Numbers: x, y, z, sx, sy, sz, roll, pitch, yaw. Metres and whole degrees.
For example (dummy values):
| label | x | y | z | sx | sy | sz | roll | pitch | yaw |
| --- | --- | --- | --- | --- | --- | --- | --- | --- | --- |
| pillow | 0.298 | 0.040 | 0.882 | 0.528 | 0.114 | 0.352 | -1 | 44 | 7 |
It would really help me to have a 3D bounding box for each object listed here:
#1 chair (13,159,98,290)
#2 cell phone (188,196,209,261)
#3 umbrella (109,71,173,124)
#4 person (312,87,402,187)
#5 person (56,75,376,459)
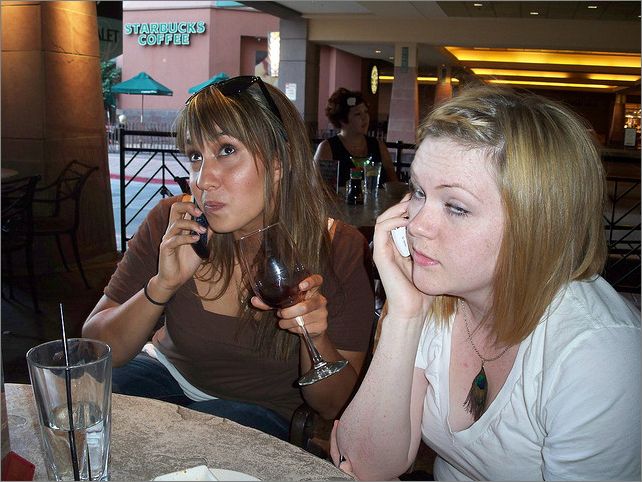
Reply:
| label | x | y | z | sx | sy | sz | roll | pitch | yaw |
| --- | --- | --- | --- | --- | --- | --- | --- | --- | --- |
| chair | -2.920 | -0.160 | 5.078 | 0.808 | 1.264 | 0.963 | 3 | 4 | 41 |
| cell phone | -0.414 | -0.040 | 1.619 | 0.030 | 0.092 | 0.222 | -15 | 44 | 1 |
| umbrella | -4.554 | -3.635 | 12.315 | 1.472 | 1.458 | 1.533 | 5 | 18 | 2 |
| person | 0.445 | -1.106 | 5.624 | 0.858 | 1.368 | 0.727 | -10 | 16 | -22 |
| person | -0.344 | 0.254 | 1.785 | 0.978 | 1.664 | 0.786 | 5 | 4 | 3 |
